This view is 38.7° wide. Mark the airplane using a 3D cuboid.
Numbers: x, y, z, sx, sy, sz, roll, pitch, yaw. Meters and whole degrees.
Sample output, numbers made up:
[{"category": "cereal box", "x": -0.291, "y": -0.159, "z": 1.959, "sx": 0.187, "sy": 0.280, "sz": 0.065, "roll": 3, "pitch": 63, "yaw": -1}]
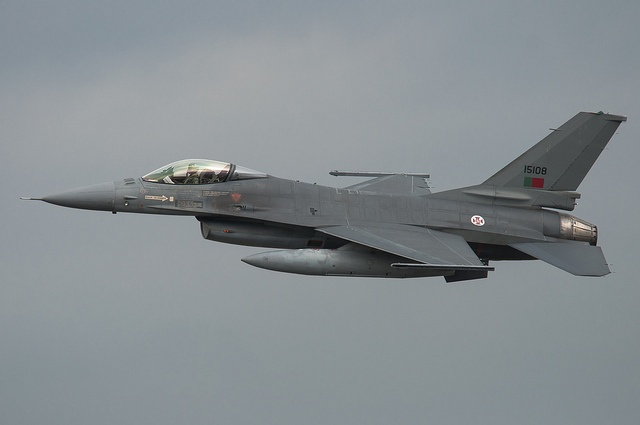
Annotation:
[{"category": "airplane", "x": 1.255, "y": -0.197, "z": 24.381, "sx": 11.670, "sy": 6.308, "sz": 2.974, "roll": 3, "pitch": -85, "yaw": -6}]
